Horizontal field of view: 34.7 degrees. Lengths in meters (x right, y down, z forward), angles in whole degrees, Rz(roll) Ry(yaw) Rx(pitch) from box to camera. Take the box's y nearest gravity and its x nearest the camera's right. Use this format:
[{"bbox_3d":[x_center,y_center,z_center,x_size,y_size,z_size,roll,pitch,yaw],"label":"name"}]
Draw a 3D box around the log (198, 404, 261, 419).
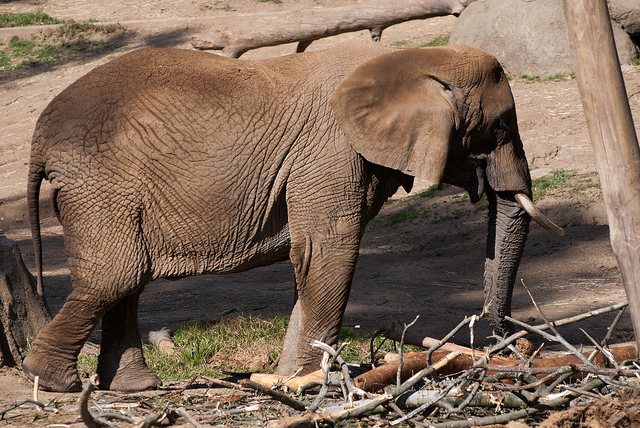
[{"bbox_3d":[-0.892,1.946,9.984,0.675,0.077,0.106,-9,9,14],"label":"log"}]
